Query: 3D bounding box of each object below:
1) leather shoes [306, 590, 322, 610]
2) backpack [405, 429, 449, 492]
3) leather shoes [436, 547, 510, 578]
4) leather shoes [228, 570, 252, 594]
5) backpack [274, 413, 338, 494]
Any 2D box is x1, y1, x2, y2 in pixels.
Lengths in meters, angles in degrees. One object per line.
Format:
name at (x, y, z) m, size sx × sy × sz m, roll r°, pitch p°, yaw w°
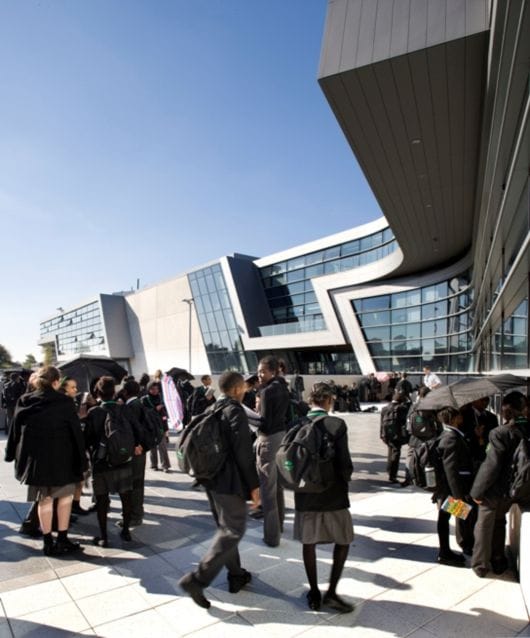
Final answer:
leather shoes at (0.381, 2.168, 3.189) m, size 0.074 × 0.062 × 0.150 m, roll 4°, pitch 1°, yaw 5°
backpack at (1.591, 1.455, 4.263) m, size 0.521 × 0.508 × 0.392 m, roll -1°, pitch -8°, yaw 6°
leather shoes at (1.905, 2.294, 3.950) m, size 0.668 × 0.260 × 0.222 m, roll -15°, pitch -21°, yaw 27°
leather shoes at (-0.207, 2.215, 3.508) m, size 0.080 × 0.150 × 0.213 m, roll 0°, pitch 1°, yaw 26°
backpack at (0.315, 1.055, 3.198) m, size 0.424 × 0.585 × 0.338 m, roll -7°, pitch -5°, yaw -6°
